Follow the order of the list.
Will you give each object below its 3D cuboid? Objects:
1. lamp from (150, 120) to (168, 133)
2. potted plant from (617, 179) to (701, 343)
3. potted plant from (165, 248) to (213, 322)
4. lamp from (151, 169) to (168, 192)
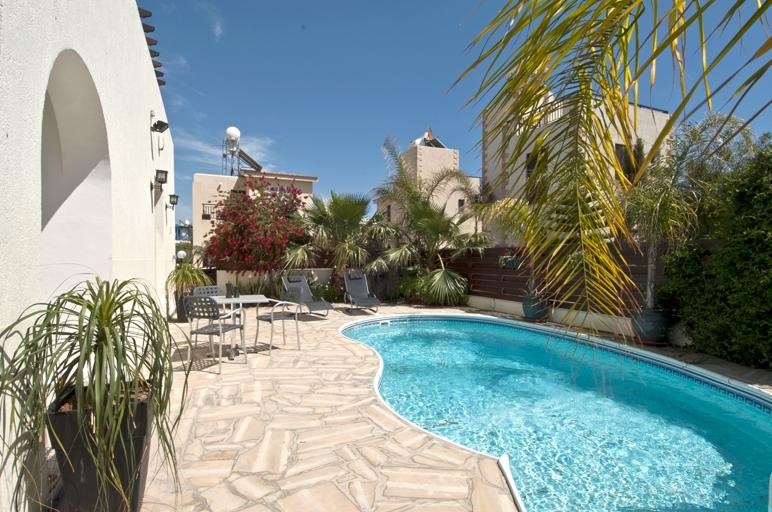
[{"bbox_3d":[-3.841,-2.211,8.056,0.242,0.113,0.276,8,27,16],"label":"lamp"},{"bbox_3d":[4.352,0.073,7.534,0.916,2.709,1.654,-1,-3,33],"label":"potted plant"},{"bbox_3d":[-4.250,0.655,9.916,0.671,0.960,0.690,10,-2,5],"label":"potted plant"},{"bbox_3d":[-3.955,-1.354,8.340,0.216,0.352,0.408,2,-4,-29],"label":"lamp"}]
